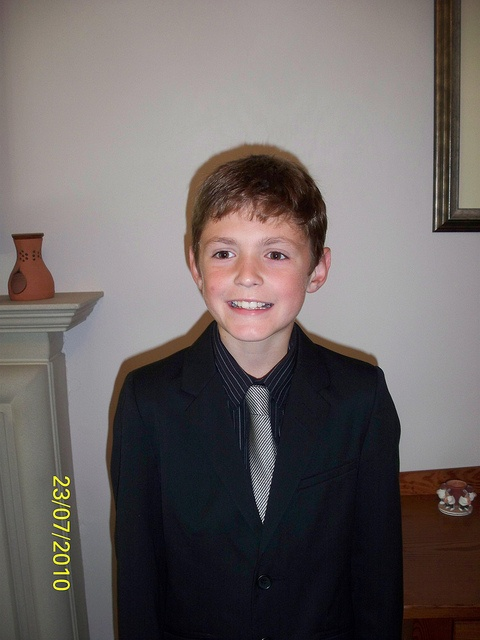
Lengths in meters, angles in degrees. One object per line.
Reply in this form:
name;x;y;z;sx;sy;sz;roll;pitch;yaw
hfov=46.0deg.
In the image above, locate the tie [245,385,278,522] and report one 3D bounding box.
tie;0.040;0.247;1.059;0.044;0.240;0.012;2;-28;0
